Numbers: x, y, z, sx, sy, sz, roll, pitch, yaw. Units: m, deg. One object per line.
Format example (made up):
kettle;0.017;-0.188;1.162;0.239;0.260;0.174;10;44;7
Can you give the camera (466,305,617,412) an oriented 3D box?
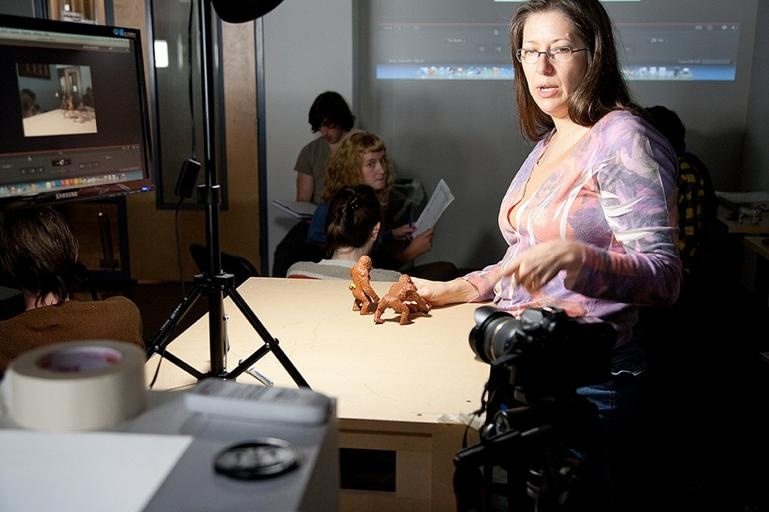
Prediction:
camera;0.303;0.186;1.201;0.280;0.158;0.258;6;8;40

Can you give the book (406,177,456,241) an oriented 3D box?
book;0.310;-0.353;4.007;0.049;0.440;0.422;27;19;-22
